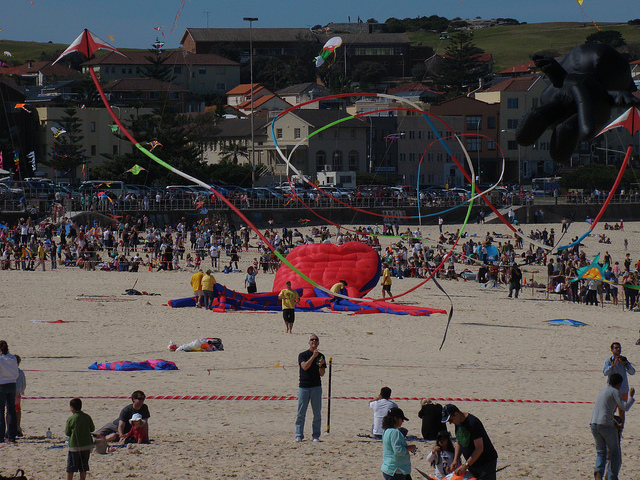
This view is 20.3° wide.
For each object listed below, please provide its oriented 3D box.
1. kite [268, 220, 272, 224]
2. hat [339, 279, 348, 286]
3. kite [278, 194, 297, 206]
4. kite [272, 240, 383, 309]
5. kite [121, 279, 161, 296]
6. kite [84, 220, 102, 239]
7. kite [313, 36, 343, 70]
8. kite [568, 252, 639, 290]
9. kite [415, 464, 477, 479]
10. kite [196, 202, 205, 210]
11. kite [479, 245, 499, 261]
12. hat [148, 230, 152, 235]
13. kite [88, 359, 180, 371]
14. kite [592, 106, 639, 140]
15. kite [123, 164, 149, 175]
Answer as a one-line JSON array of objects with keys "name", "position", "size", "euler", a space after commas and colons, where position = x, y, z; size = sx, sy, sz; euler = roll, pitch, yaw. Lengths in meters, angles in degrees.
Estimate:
[{"name": "kite", "position": [-2.951, -1.060, 107.006], "size": [0.256, 0.255, 0.255], "euler": [-2, 8, 0]}, {"name": "hat", "position": [1.195, 2.012, 83.666], "size": [0.234, 0.103, 0.267], "euler": [17, -2, 22]}, {"name": "kite", "position": [-1.987, -2.487, 112.380], "size": [0.994, 0.366, 0.706], "euler": [-6, 1, -18]}, {"name": "kite", "position": [0.396, 1.965, 84.545], "size": [4.852, 1.506, 4.941], "euler": [3, 42, 33]}, {"name": "kite", "position": [-8.494, 2.396, 85.522], "size": [1.696, 0.679, 0.515], "euler": [0, 2, -7]}, {"name": "kite", "position": [-12.457, -0.518, 98.615], "size": [0.967, 0.641, 0.904], "euler": [3, 2, 22]}, {"name": "kite", "position": [0.604, -11.051, 104.324], "size": [1.695, 0.898, 2.862], "euler": [-11, 0, -35]}, {"name": "kite", "position": [13.218, 1.592, 84.660], "size": [2.314, 0.978, 2.262], "euler": [6, 11, -25]}, {"name": "kite", "position": [4.965, 8.894, 68.130], "size": [2.262, 0.463, 0.808], "euler": [2, 1, 3]}, {"name": "kite", "position": [-7.266, -2.039, 108.410], "size": [0.418, 0.483, 0.149], "euler": [-3, 3, -4]}, {"name": "kite", "position": [9.359, 0.777, 94.820], "size": [0.829, 0.842, 0.200], "euler": [21, 0, 33]}, {"name": "hat", "position": [-9.274, -0.401, 97.332], "size": [0.067, 0.182, 0.183], "euler": [12, -17, -13]}, {"name": "kite", "position": [-7.742, 5.272, 74.476], "size": [3.532, 0.316, 0.667], "euler": [2, 1, -8]}, {"name": "kite", "position": [12.089, -4.799, 70.141], "size": [0.034, 1.418, 1.524], "euler": [-41, 43, -20]}, {"name": "kite", "position": [-11.956, -4.578, 116.429], "size": [1.596, 0.077, 0.827], "euler": [-1, 31, 10]}]
